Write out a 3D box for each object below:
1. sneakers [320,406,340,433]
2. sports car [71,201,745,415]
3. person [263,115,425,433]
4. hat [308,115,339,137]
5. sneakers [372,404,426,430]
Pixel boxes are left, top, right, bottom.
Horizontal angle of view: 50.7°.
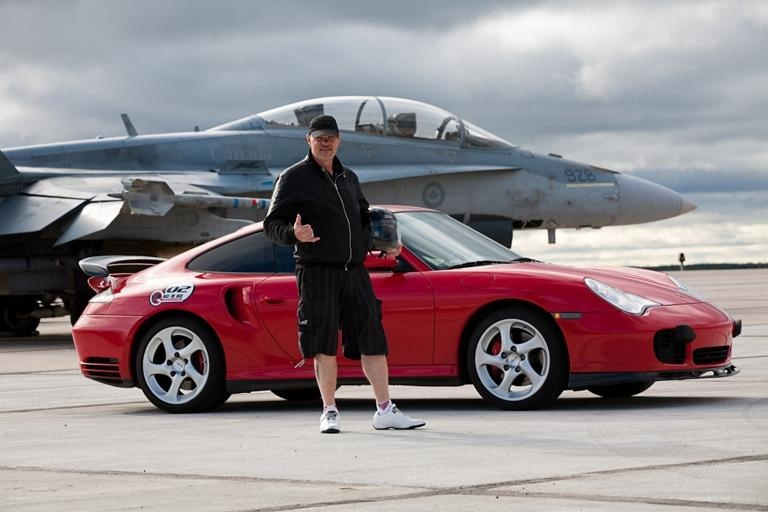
[{"bbox_3d":[-0.427,1.257,6.237,0.154,0.195,0.171,-3,4,9],"label":"sneakers"},{"bbox_3d":[0.166,0.448,7.494,6.022,1.072,2.227,-1,0,5],"label":"sports car"},{"bbox_3d":[-0.396,0.124,6.416,1.038,2.479,0.670,-4,4,-4],"label":"person"},{"bbox_3d":[-0.474,-1.034,6.490,0.226,0.099,0.253,1,-5,16],"label":"hat"},{"bbox_3d":[0.077,1.272,6.385,0.568,0.152,0.153,0,-1,0],"label":"sneakers"}]
